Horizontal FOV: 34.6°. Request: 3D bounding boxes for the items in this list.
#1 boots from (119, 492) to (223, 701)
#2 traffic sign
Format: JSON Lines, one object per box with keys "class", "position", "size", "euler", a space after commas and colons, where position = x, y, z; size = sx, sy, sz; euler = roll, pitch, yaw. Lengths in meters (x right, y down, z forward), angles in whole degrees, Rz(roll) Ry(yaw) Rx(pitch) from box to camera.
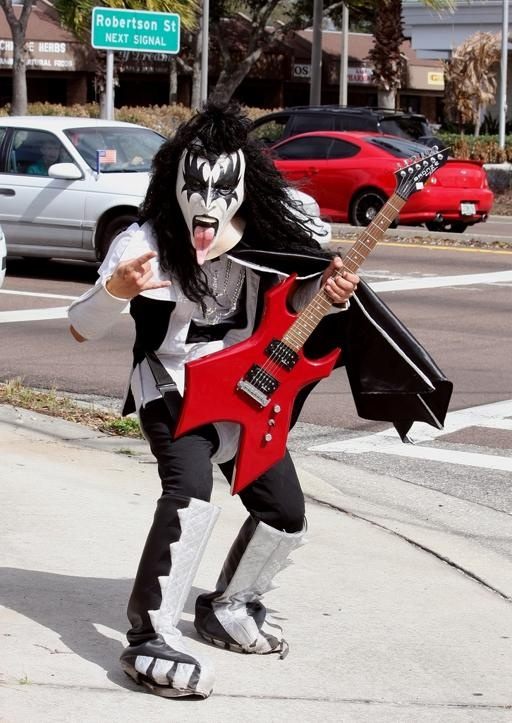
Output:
{"class": "boots", "position": [-0.189, 0.564, 1.970], "size": [0.222, 0.461, 0.233], "euler": [8, 7, -6]}
{"class": "traffic sign", "position": [-2.177, -6.039, 15.087], "size": [1.756, 0.961, 0.916], "euler": [-8, 18, -31]}
